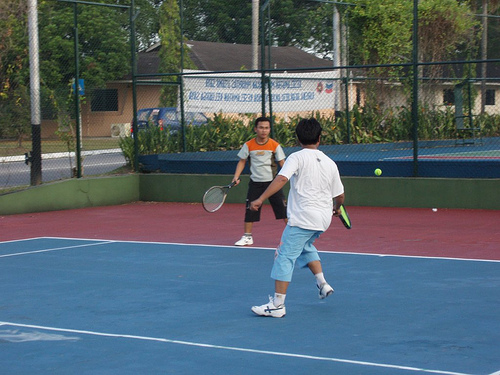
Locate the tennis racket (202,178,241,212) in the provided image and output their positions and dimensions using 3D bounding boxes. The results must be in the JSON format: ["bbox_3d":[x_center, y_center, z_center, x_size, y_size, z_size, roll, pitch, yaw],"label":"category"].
[{"bbox_3d":[-0.576,0.134,12.043,0.455,0.566,0.460,-2,6,-1],"label":"tennis racket"}]

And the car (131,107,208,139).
[{"bbox_3d":[-2.234,-1.915,19.067,1.687,0.875,0.978,-11,13,-37],"label":"car"}]

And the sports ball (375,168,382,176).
[{"bbox_3d":[2.958,-0.351,16.095,0.167,0.164,0.118,3,8,30],"label":"sports ball"}]
